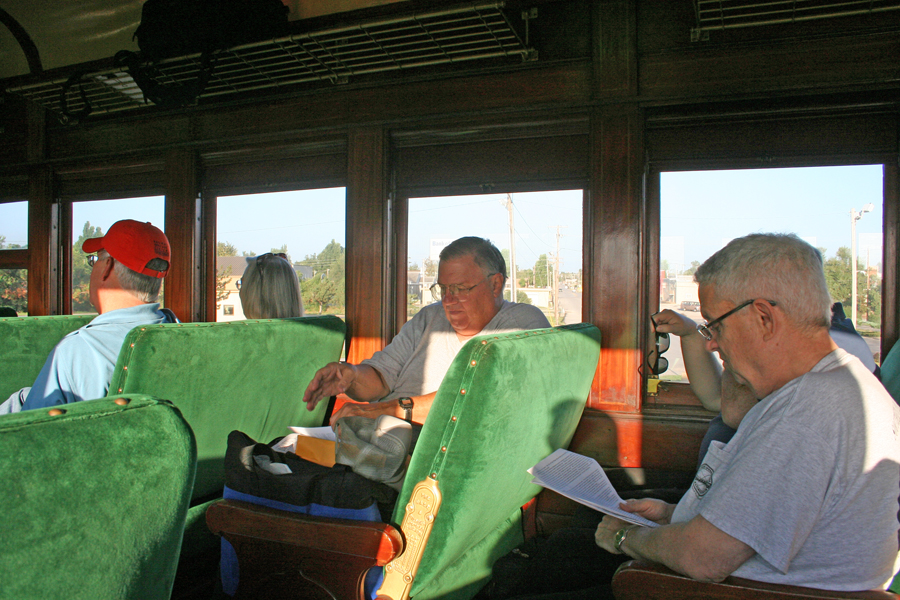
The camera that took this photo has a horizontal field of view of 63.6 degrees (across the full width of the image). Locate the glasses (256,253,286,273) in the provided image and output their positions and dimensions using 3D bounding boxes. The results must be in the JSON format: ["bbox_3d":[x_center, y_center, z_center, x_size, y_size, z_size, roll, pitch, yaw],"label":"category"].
[{"bbox_3d":[-0.986,-0.204,4.053,0.103,0.052,0.137,-12,-6,34],"label":"glasses"}]

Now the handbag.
[{"bbox_3d":[-0.538,0.810,2.809,0.650,0.284,0.522,1,-4,11],"label":"handbag"}]

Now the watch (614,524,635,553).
[{"bbox_3d":[0.613,0.854,2.571,0.035,0.096,0.071,9,28,19],"label":"watch"}]

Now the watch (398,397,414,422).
[{"bbox_3d":[-0.194,0.486,3.252,0.055,0.098,0.097,-2,11,-6],"label":"watch"}]

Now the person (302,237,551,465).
[{"bbox_3d":[-0.123,0.216,3.911,0.971,1.248,0.964,18,-9,-25],"label":"person"}]

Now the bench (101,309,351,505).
[{"bbox_3d":[-1.120,0.511,3.553,0.618,0.854,1.229,9,7,36],"label":"bench"}]
